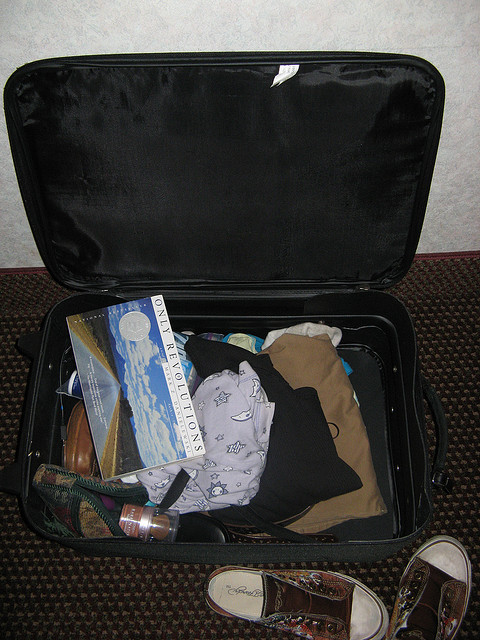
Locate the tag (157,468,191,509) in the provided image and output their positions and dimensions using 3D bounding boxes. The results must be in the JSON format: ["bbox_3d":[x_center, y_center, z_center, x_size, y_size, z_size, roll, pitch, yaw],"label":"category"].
[{"bbox_3d":[-0.119,0.311,1.047,0.015,0.011,0.079,20,54,12],"label":"tag"}]
